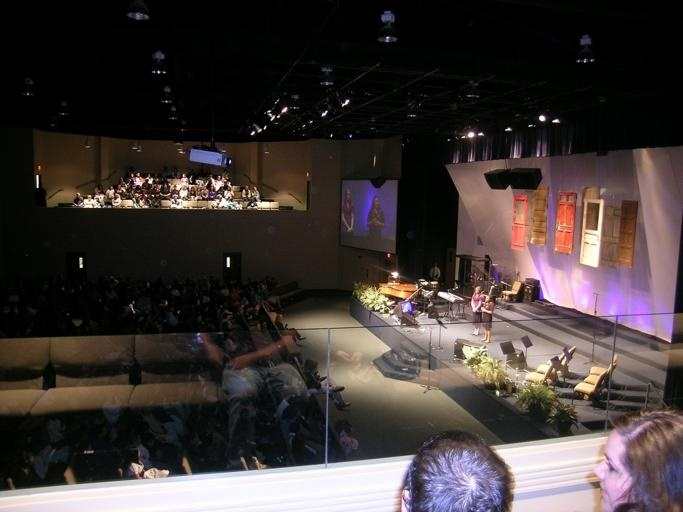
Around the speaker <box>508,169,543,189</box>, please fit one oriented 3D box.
[{"bbox_3d":[5.332,-2.229,13.666,0.718,0.495,0.723,2,18,31],"label":"speaker"}]

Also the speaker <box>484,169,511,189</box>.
[{"bbox_3d":[4.897,-2.401,14.702,0.486,0.609,1.224,-4,4,-16],"label":"speaker"}]

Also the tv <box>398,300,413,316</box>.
[{"bbox_3d":[1.400,1.092,10.242,0.335,0.344,0.246,2,-25,3],"label":"tv"}]

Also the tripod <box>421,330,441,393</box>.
[{"bbox_3d":[0.625,0.693,3.315,0.104,0.449,0.099,4,-7,20],"label":"tripod"}]

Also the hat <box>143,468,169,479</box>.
[{"bbox_3d":[-1.167,1.369,3.027,0.105,0.041,0.073,8,-9,-18],"label":"hat"}]

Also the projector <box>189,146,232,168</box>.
[{"bbox_3d":[-4.017,-3.038,14.480,0.952,0.580,0.971,-4,4,-4],"label":"projector"}]

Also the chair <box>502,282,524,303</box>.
[{"bbox_3d":[5.399,1.132,14.970,0.650,0.784,0.578,-1,-1,-12],"label":"chair"}]
